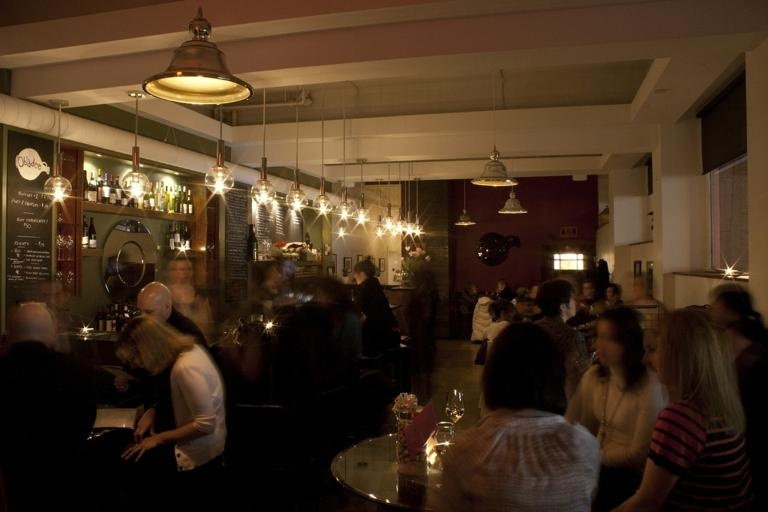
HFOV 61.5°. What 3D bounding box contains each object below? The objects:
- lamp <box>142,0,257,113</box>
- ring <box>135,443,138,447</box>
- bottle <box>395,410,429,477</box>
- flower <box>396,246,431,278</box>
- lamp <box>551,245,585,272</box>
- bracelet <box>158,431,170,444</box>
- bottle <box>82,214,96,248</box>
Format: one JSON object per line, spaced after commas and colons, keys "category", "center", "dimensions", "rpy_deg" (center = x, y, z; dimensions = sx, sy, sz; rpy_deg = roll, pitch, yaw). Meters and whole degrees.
{"category": "lamp", "center": [-1.283, -1.320, 4.723], "dimensions": [0.711, 0.579, 0.732], "rpy_deg": [-1, 1, 23]}
{"category": "ring", "center": [-1.727, 1.325, 4.531], "dimensions": [0.017, 0.032, 0.017], "rpy_deg": [-1, 8, 0]}
{"category": "bottle", "center": [0.218, 1.274, 4.449], "dimensions": [0.231, 0.497, 0.247], "rpy_deg": [2, -2, 0]}
{"category": "flower", "center": [0.624, 0.136, 14.572], "dimensions": [0.760, 0.909, 0.682], "rpy_deg": [4, -4, -12]}
{"category": "lamp", "center": [4.762, 0.183, 16.601], "dimensions": [1.011, 0.781, 0.557], "rpy_deg": [-1, -7, 22]}
{"category": "bracelet", "center": [-1.551, 1.284, 4.575], "dimensions": [0.055, 0.071, 0.041], "rpy_deg": [2, -2, -19]}
{"category": "bottle", "center": [-3.611, -0.299, 7.941], "dimensions": [0.129, 0.399, 0.242], "rpy_deg": [1, -2, 7]}
